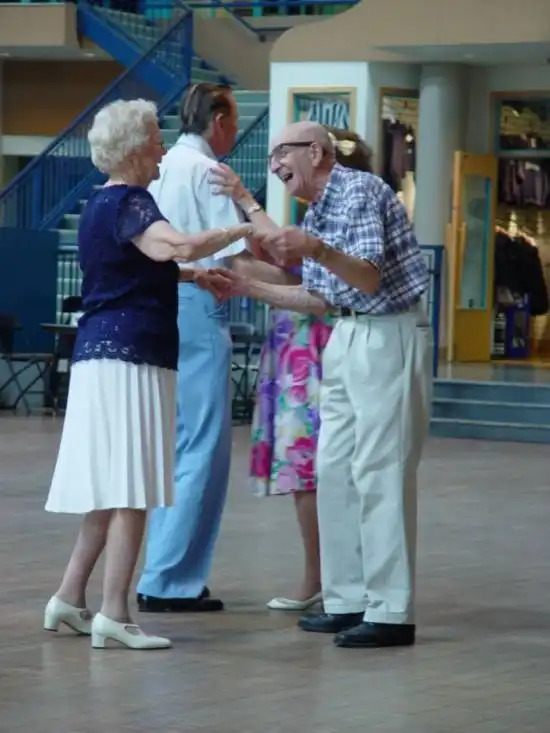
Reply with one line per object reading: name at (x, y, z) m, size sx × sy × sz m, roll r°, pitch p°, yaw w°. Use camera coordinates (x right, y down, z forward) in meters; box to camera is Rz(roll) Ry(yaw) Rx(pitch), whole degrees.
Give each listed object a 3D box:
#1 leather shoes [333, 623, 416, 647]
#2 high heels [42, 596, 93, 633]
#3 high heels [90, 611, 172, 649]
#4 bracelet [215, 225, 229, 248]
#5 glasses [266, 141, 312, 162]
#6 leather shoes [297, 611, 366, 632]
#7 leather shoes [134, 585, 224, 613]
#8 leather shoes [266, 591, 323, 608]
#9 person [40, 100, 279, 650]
leather shoes at (0.285, 0.765, 3.457) m, size 0.234 × 0.093 × 0.077 m, roll 3°, pitch -4°, yaw -6°
high heels at (-0.596, 0.728, 3.519) m, size 0.180 × 0.084 × 0.082 m, roll 2°, pitch 1°, yaw -39°
high heels at (-0.414, 0.743, 3.373) m, size 0.274 × 0.104 × 0.084 m, roll 1°, pitch -2°, yaw -10°
bracelet at (-0.145, -0.368, 3.342) m, size 0.022 × 0.046 × 0.043 m, roll 1°, pitch 1°, yaw -19°
glasses at (0.039, -0.638, 3.532) m, size 0.082 × 0.020 × 0.074 m, roll -4°, pitch -7°, yaw -14°
leather shoes at (0.163, 0.767, 3.586) m, size 0.180 × 0.064 × 0.067 m, roll 2°, pitch 1°, yaw 3°
leather shoes at (-0.311, 0.760, 3.934) m, size 0.295 × 0.097 × 0.089 m, roll -1°, pitch -3°, yaw -5°
leather shoes at (0.055, 0.770, 3.972) m, size 0.194 × 0.064 × 0.059 m, roll 5°, pitch -7°, yaw -15°
person at (-0.392, 0.029, 3.391) m, size 0.519 × 1.570 × 0.394 m, roll 0°, pitch 9°, yaw -10°
